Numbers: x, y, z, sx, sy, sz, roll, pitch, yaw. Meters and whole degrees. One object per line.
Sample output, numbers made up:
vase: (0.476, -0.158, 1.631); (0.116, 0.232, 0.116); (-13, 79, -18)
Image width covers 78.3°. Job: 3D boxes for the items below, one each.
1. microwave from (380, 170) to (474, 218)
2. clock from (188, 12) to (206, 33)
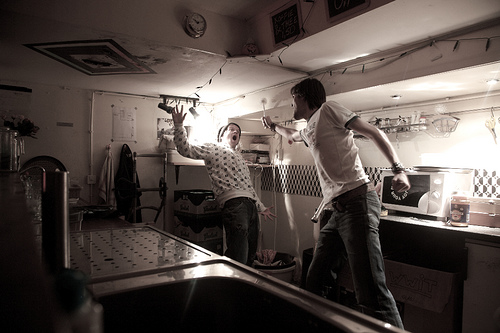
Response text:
microwave: (1.671, 0.287, 2.897); (0.516, 0.438, 0.708); (10, -4, -18)
clock: (-0.434, -1.186, 2.535); (0.037, 0.152, 0.157); (1, 7, 43)
